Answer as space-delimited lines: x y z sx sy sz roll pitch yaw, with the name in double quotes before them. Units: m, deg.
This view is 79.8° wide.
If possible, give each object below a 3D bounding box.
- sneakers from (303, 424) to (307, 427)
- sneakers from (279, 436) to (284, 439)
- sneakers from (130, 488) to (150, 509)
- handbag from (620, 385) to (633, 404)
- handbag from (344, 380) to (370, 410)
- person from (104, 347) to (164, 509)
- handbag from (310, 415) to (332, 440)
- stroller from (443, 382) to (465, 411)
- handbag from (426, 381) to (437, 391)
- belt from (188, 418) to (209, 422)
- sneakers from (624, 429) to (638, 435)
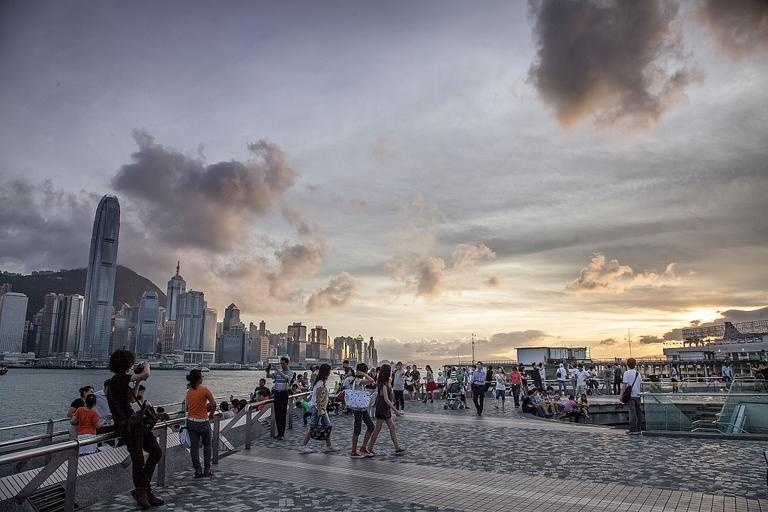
"sneakers" -3.306 7.185 19.413 0.116 0.048 0.124 0 -6 6
"sneakers" -3.685 6.523 16.548 0.197 0.106 0.112 -1 -3 14
"sneakers" -5.142 5.154 9.749 0.237 0.471 0.184 -32 1 -5
"handbag" 9.111 5.214 17.355 0.417 0.581 0.510 -5 -13 18
"handbag" -0.786 4.321 14.243 0.821 0.877 0.728 -1 -12 0
"person" -5.288 3.652 9.743 0.796 3.309 1.260 -10 -15 33
"handbag" -1.950 5.294 14.132 0.596 0.710 0.332 1 -12 -9
"stroller" 4.189 8.131 26.699 1.474 1.872 1.400 -7 -18 32
"handbag" 3.098 8.545 30.095 0.580 0.704 0.717 -5 -13 15
"belt" -4.647 4.122 11.550 0.216 0.049 0.213 0 -9 2
"sneakers" 9.347 6.710 17.467 0.380 0.161 0.139 1 -23 23
